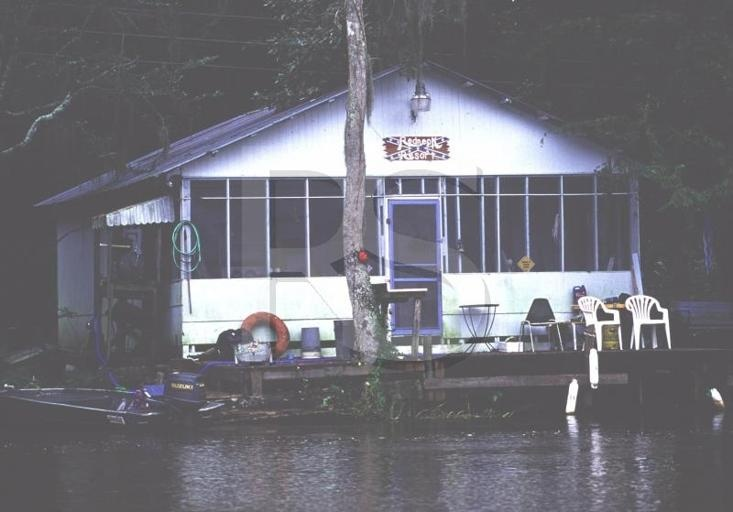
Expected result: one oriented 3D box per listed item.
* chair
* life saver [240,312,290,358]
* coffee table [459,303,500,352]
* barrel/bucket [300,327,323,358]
[{"bbox_3d":[5.504,2.431,30.550,4.209,1.781,1.030,-1,-6,-9],"label":"chair"},{"bbox_3d":[-2.385,1.819,31.268,1.097,1.000,0.462,-2,10,-6],"label":"life saver"},{"bbox_3d":[2.758,1.802,32.111,0.798,1.007,0.862,-4,-12,11],"label":"coffee table"},{"bbox_3d":[-1.290,2.010,31.282,0.537,0.930,0.621,1,-6,-7],"label":"barrel/bucket"}]
